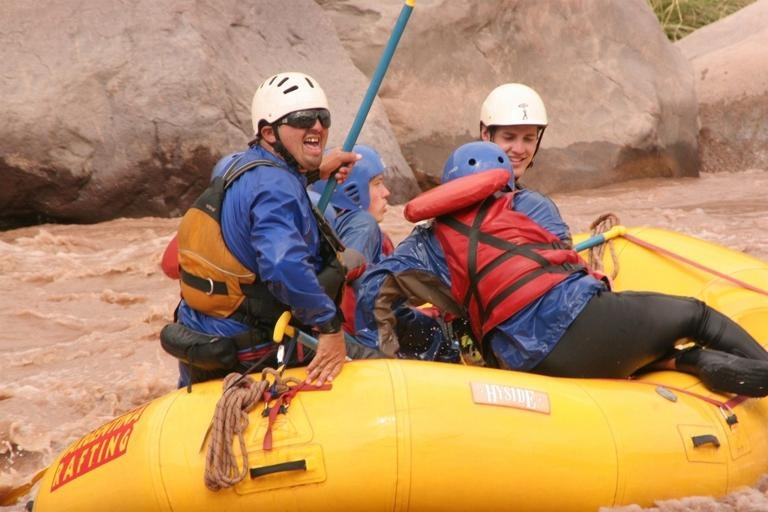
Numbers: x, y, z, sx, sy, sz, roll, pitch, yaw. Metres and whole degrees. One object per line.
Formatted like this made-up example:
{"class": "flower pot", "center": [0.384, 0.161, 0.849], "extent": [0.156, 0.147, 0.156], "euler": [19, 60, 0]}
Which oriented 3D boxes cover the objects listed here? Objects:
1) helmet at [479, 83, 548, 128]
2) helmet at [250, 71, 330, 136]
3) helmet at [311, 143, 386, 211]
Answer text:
{"class": "helmet", "center": [1.196, -1.249, 8.309], "extent": [0.525, 0.338, 0.680], "euler": [-2, -3, 15]}
{"class": "helmet", "center": [-0.734, -1.078, 7.266], "extent": [0.618, 0.459, 0.472], "euler": [-3, -9, 45]}
{"class": "helmet", "center": [-0.295, -0.671, 8.590], "extent": [0.671, 0.584, 0.493], "euler": [-2, 6, 6]}
